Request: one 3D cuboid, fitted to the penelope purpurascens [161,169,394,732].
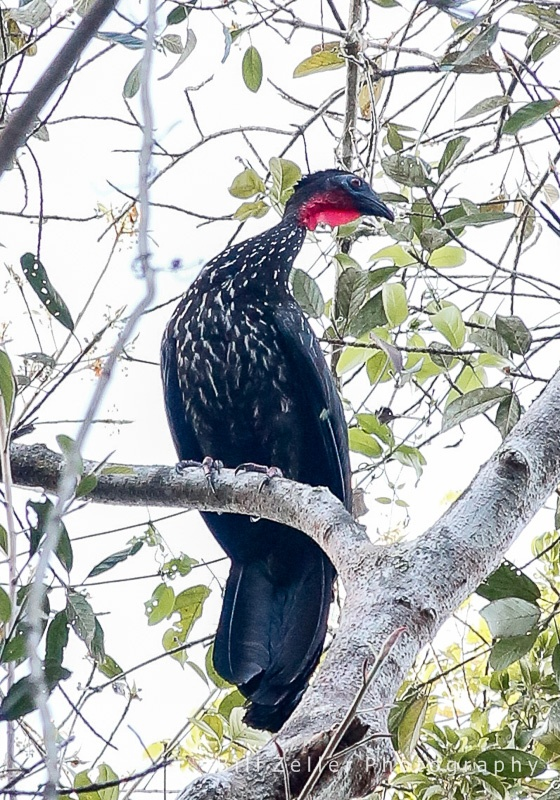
[{"bbox_3d":[-0.045,0.077,3.403,0.542,1.679,0.694,8,-45,-6],"label":"penelope purpurascens"}]
